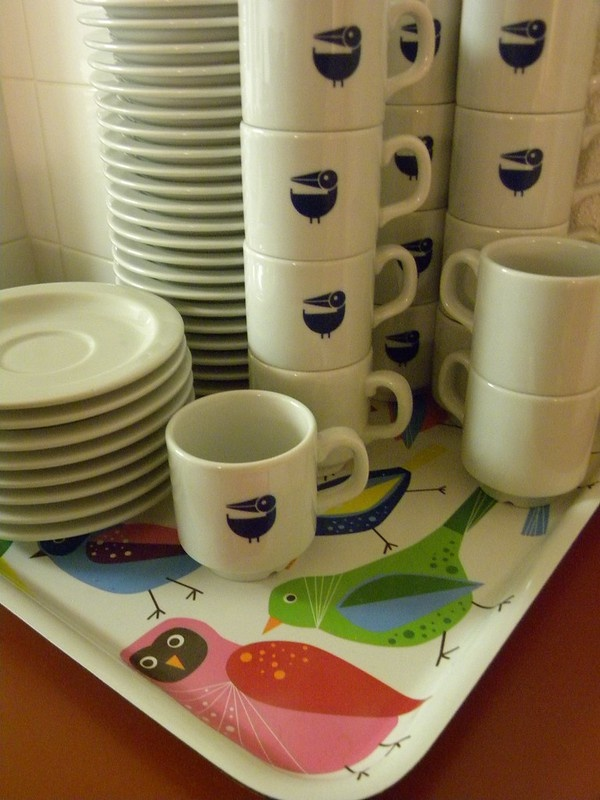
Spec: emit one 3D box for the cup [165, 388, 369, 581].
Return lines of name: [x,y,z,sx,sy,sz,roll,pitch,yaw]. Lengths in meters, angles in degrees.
cup: [-0.016,0.043,0.385,0.126,0.110,0.105,-5,28,-7]

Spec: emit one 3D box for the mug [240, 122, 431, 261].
mug: [0.022,-0.143,0.451,0.108,0.073,0.070,-16,36,-27]

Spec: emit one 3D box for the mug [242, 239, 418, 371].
mug: [0.031,-0.068,0.455,0.098,0.073,0.070,2,22,11]
